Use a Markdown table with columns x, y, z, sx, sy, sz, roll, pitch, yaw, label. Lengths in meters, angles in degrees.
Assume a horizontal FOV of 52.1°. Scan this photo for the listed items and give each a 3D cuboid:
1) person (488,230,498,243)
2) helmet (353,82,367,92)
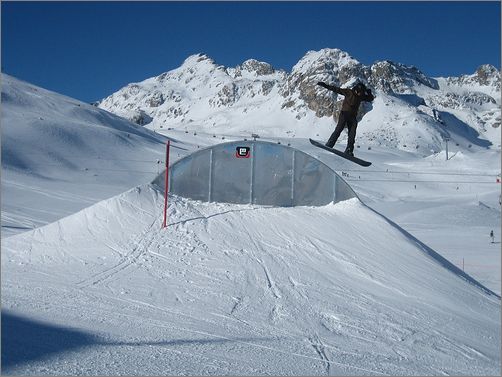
| x | y | z | sx | sy | sz | roll | pitch | yaw | label |
| --- | --- | --- | --- | --- | --- | --- | --- | --- | --- |
| 12.873 | 2.512 | 27.137 | 0.293 | 0.650 | 1.806 | 9 | 4 | 25 | person |
| 3.516 | -3.240 | 16.411 | 0.416 | 0.292 | 0.471 | 8 | 4 | 7 | helmet |
